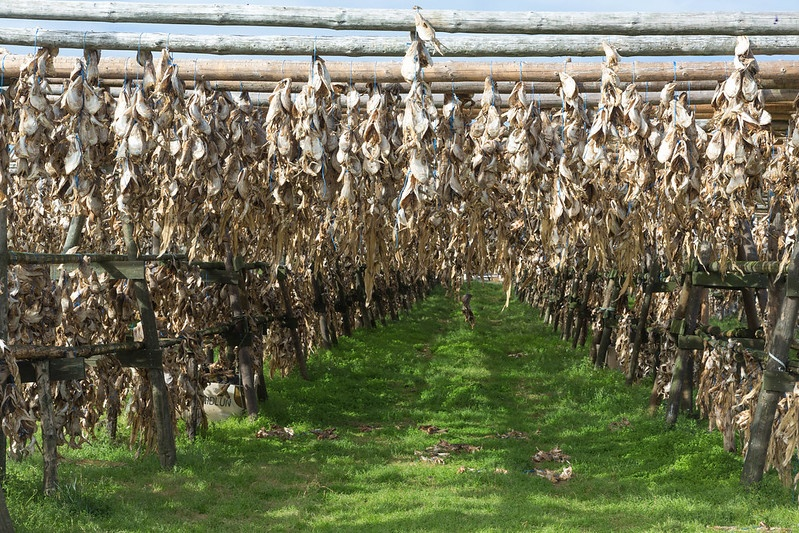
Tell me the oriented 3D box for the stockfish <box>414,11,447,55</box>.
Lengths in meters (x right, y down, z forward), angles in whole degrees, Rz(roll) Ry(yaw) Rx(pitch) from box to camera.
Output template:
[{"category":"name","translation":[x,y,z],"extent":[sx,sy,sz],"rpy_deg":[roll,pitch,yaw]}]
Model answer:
[{"category":"stockfish","translation":[0.267,-2.236,10.946],"extent":[0.296,0.432,0.463],"rpy_deg":[2,8,4]}]
